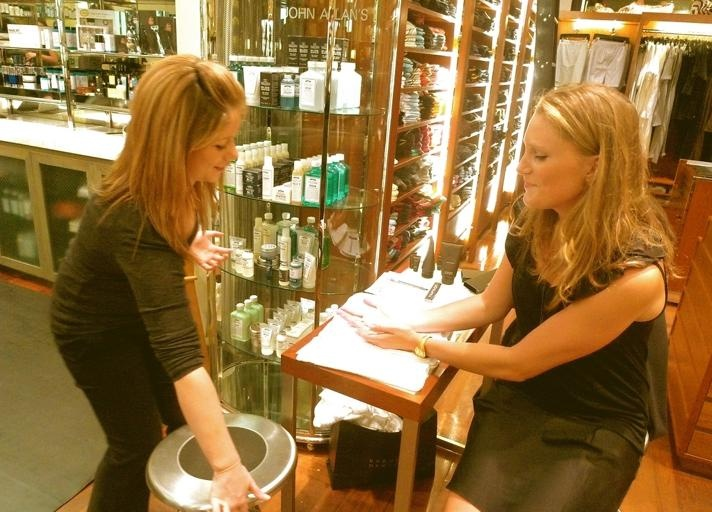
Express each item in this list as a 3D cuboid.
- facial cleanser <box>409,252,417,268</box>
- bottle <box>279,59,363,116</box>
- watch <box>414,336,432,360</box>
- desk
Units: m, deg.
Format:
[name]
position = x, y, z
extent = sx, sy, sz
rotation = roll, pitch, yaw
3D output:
[facial cleanser]
position = 0.304, 0.021, 2.788
extent = 0.054, 0.077, 0.062
rotation = 0, 17, 7
[bottle]
position = -0.115, -0.857, 2.773
extent = 0.316, 0.246, 0.393
rotation = 20, 27, 41
[watch]
position = 0.265, 0.356, 2.138
extent = 0.037, 0.079, 0.062
rotation = 6, 17, 16
[desk]
position = 0.203, 0.569, 2.468
extent = 0.651, 0.785, 0.868
rotation = 15, 31, 26
